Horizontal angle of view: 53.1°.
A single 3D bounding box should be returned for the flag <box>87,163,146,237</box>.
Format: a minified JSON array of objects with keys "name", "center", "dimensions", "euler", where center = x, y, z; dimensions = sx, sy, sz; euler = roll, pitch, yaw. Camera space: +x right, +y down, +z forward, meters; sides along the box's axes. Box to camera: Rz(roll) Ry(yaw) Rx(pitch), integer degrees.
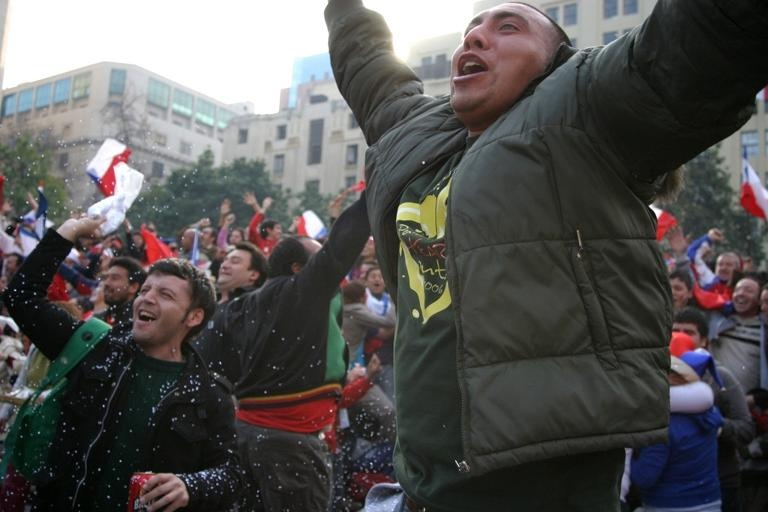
[{"name":"flag","center":[-2.085,-0.479,6.057],"dimensions":[0.322,1.072,0.289],"euler":[4,-59,-4]}]
